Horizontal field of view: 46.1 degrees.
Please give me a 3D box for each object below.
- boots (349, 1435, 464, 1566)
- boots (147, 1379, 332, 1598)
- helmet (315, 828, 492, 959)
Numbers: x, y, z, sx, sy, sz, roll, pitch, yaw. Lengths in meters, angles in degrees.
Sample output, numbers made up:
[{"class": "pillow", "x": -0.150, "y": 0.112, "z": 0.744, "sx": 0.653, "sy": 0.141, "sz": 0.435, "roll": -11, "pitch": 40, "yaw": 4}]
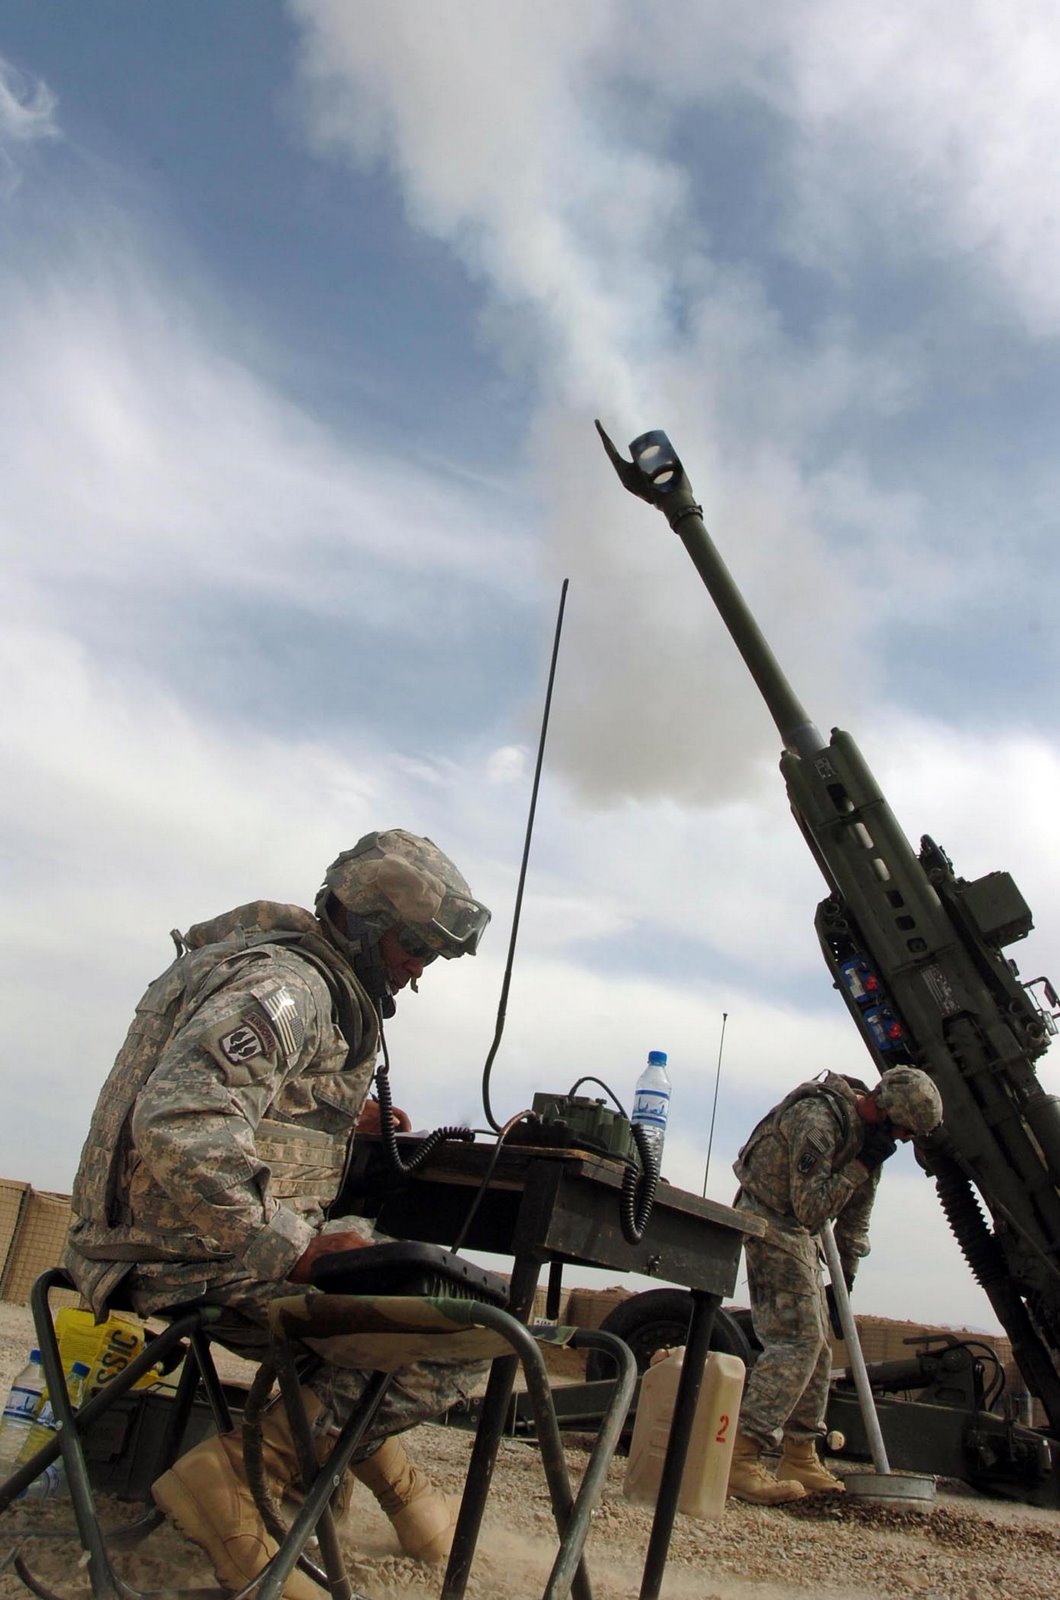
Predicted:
[{"class": "boots", "x": -0.306, "y": 1.505, "z": 2.637, "sx": 0.141, "sy": 0.100, "sz": 0.346, "roll": -29, "pitch": 1, "yaw": -22}, {"class": "boots", "x": -0.483, "y": 1.123, "z": 2.018, "sx": 0.302, "sy": 0.121, "sz": 0.307, "roll": 40, "pitch": -25, "yaw": 22}, {"class": "helmet", "x": -0.295, "y": 0.224, "z": 2.970, "sx": 0.411, "sy": 0.301, "sz": 0.313, "roll": 19, "pitch": -7, "yaw": -13}]
